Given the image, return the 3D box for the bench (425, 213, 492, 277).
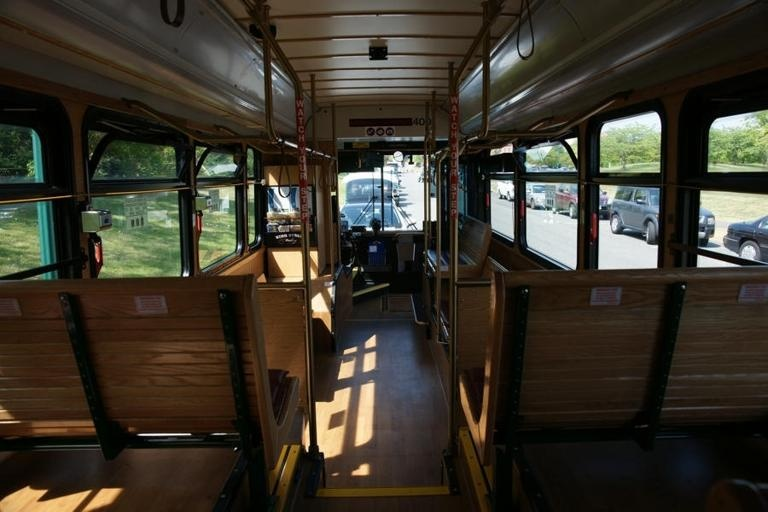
[{"bbox_3d":[1.101,-0.086,8.705,0.894,0.894,1.952,-5,8,0],"label":"bench"}]
